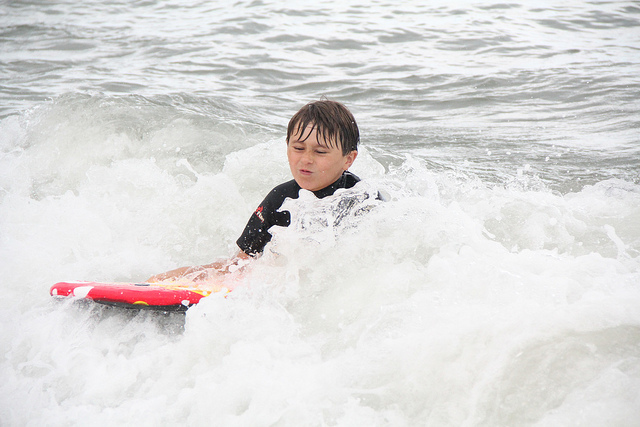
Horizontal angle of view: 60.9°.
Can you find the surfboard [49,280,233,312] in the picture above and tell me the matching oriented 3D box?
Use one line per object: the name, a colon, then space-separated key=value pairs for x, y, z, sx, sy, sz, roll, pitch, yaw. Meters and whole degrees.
surfboard: x=-1.154 y=0.485 z=3.298 sx=0.698 sy=0.066 sz=0.379 roll=2 pitch=1 yaw=10
